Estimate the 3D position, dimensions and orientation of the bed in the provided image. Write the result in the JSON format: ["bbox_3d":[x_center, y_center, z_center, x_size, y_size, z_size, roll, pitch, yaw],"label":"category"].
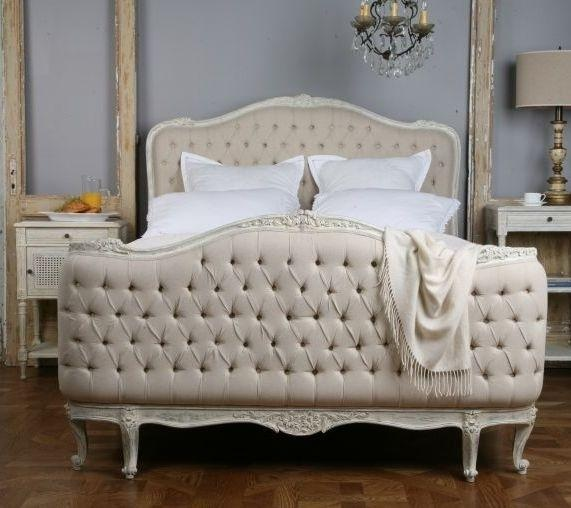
[{"bbox_3d":[0.066,0.005,4.489,1.772,1.528,2.211,0,4,1],"label":"bed"}]

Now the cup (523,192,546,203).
[{"bbox_3d":[1.427,-0.310,4.798,0.111,0.081,0.086,1,-1,3],"label":"cup"}]
